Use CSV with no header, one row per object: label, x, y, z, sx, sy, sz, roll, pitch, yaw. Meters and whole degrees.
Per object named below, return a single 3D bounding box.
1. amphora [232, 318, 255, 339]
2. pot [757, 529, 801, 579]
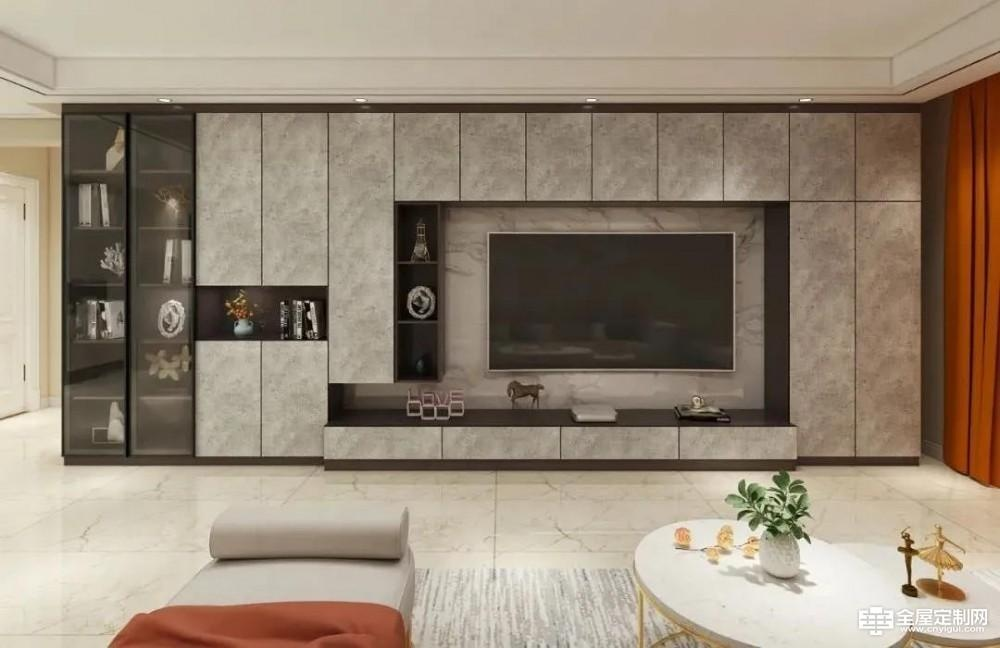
amphora,-2.365,0.044,7.545,0.187,0.166,0.179,2,-5,-15
pot,1.805,1.479,5.344,0.300,0.262,0.284,0,-1,0
